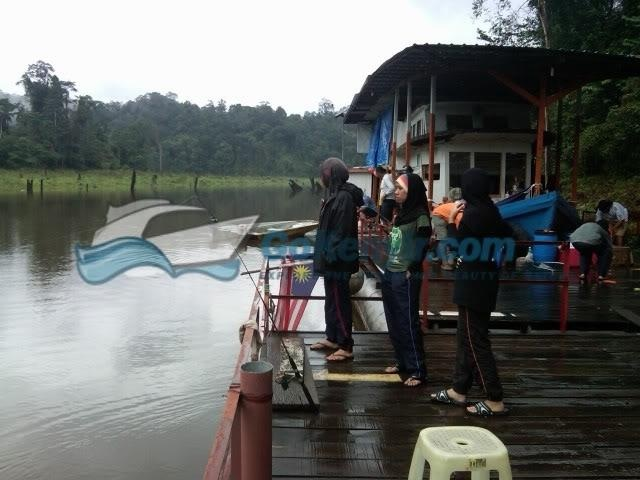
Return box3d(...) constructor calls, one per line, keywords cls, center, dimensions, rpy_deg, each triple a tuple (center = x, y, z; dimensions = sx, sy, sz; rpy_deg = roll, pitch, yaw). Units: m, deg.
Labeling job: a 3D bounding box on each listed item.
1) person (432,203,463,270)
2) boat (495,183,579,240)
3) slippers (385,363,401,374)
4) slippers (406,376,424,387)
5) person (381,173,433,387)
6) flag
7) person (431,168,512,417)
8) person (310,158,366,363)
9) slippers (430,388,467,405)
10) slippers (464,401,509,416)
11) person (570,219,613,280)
box3d(cls="person", center=(1.780, -0.043, 7.992), dimensions=(0.400, 1.145, 0.455), rpy_deg=(3, -1, -37))
box3d(cls="boat", center=(4.786, -0.645, 13.074), dimensions=(1.466, 0.785, 1.802), rpy_deg=(-7, 16, -23))
box3d(cls="slippers", center=(0.817, 1.450, 6.500), dimensions=(0.087, 0.061, 0.158), rpy_deg=(3, 9, -1))
box3d(cls="slippers", center=(1.016, 1.515, 6.126), dimensions=(0.175, 0.060, 0.100), rpy_deg=(6, 1, -7))
box3d(cls="person", center=(0.939, 0.415, 6.145), dimensions=(0.396, 2.257, 0.541), rpy_deg=(-7, 12, -29))
box3d(cls="flag", center=(-0.266, 0.830, 8.446), dimensions=(0.519, 1.304, 0.124), rpy_deg=(-5, 36, -17))
box3d(cls="person", center=(1.504, 0.511, 5.551), dimensions=(0.648, 2.367, 0.441), rpy_deg=(2, 11, 17))
box3d(cls="person", center=(0.194, 0.239, 6.662), dimensions=(0.625, 2.344, 0.576), rpy_deg=(-2, 11, -5))
box3d(cls="slippers", center=(1.301, 1.583, 5.756), dimensions=(0.338, 0.120, 0.142), rpy_deg=(5, -3, 13))
box3d(cls="slippers", center=(1.640, 1.632, 5.574), dimensions=(0.367, 0.108, 0.152), rpy_deg=(3, -2, -1))
box3d(cls="person", center=(5.353, 0.212, 11.270), dimensions=(0.709, 1.183, 1.080), rpy_deg=(5, 12, 31))
